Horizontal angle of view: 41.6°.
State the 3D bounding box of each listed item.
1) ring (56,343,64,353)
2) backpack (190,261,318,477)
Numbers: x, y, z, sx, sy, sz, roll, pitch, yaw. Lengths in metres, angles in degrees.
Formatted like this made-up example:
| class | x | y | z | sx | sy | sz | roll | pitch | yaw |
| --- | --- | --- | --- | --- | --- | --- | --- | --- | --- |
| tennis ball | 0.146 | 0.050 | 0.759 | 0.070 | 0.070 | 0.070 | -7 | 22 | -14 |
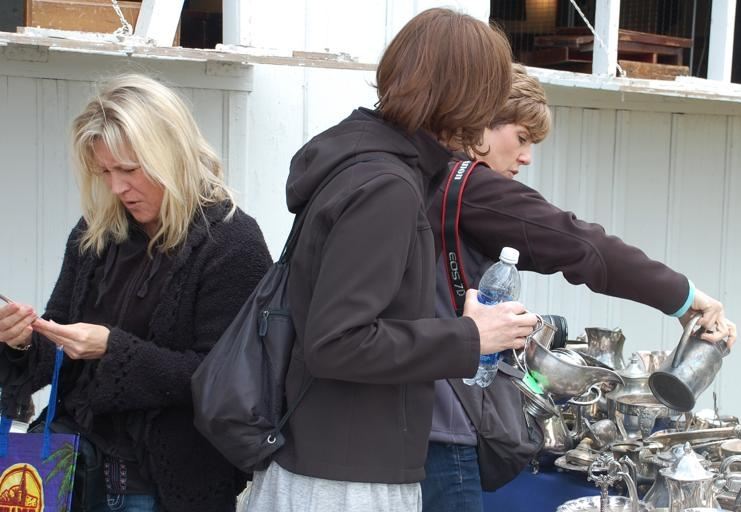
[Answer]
| class | x | y | z | sx | sy | sz | roll | pitch | yaw |
| --- | --- | --- | --- | --- | --- | --- | --- | --- | --- |
| ring | -1.245 | 0.354 | 3.911 | 0.027 | 0.043 | 0.042 | 0 | 7 | -12 |
| backpack | -0.424 | 0.413 | 3.579 | 0.380 | 0.699 | 0.602 | 16 | 12 | -20 |
